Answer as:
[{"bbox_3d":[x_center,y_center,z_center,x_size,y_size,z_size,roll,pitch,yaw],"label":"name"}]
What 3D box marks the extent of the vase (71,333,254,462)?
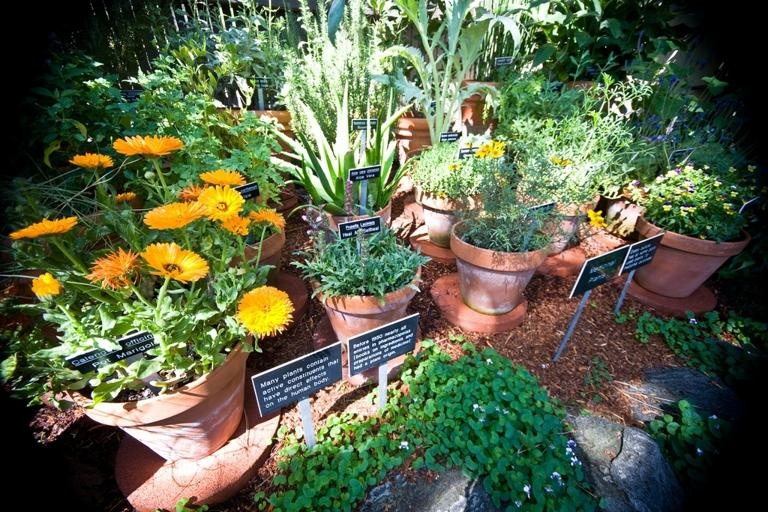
[{"bbox_3d":[-1.283,0.779,2.645,0.823,0.596,0.793,-10,24,-23],"label":"vase"}]
